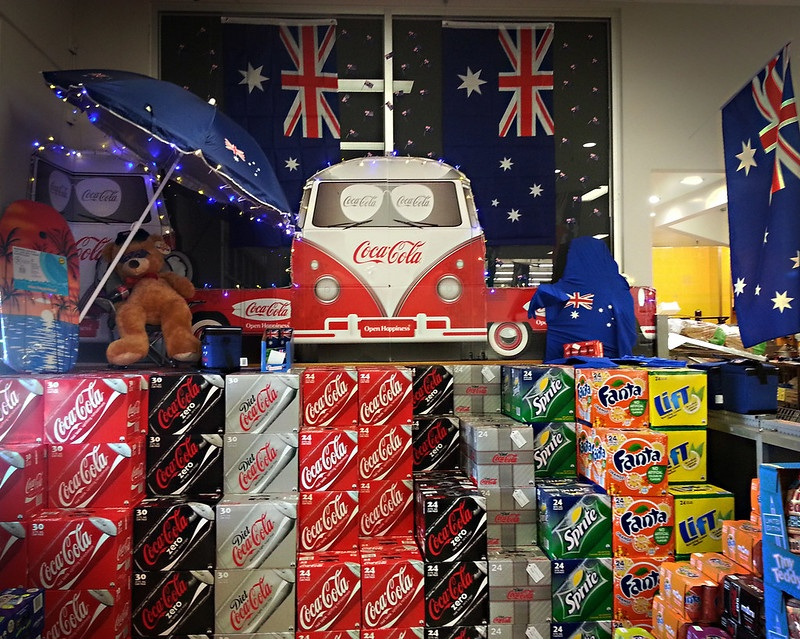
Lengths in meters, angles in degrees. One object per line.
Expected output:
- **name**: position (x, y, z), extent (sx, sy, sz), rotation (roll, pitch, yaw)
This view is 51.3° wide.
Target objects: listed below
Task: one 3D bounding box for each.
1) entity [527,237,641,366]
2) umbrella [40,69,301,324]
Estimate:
- **entity**: position (1.524, -0.131, 6.976), extent (0.891, 1.200, 0.457), rotation (3, 17, 9)
- **umbrella**: position (-1.703, -1.265, 6.261), extent (1.796, 1.095, 1.177), rotation (-2, 6, -29)
